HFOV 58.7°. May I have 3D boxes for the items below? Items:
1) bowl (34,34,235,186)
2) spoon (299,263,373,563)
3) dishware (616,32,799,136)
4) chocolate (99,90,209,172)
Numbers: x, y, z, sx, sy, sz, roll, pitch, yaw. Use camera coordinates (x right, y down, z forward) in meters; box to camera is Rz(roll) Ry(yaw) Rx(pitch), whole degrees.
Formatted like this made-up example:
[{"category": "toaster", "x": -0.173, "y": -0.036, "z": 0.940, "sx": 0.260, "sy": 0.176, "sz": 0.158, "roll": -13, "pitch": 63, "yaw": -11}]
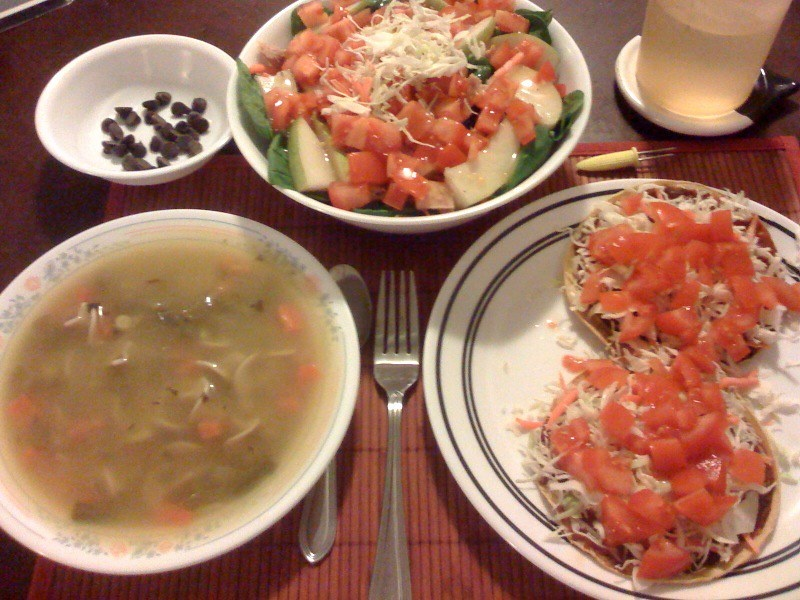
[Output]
[{"category": "bowl", "x": -1.120, "y": -0.818, "z": 3.046, "sx": 0.739, "sy": 0.735, "sz": 0.177, "roll": -18, "pitch": 79, "yaw": 14}, {"category": "spoon", "x": -0.215, "y": 0.359, "z": 2.346, "sx": 0.200, "sy": 0.097, "sz": 0.935, "roll": 11, "pitch": 79, "yaw": -24}, {"category": "dishware", "x": 1.150, "y": -0.777, "z": 2.636, "sx": 0.565, "sy": 0.095, "sz": 0.421, "roll": 4, "pitch": 70, "yaw": 7}, {"category": "chocolate", "x": -0.950, "y": -0.629, "z": 2.851, "sx": 0.370, "sy": 0.076, "sz": 0.347, "roll": -28, "pitch": 66, "yaw": -15}]
